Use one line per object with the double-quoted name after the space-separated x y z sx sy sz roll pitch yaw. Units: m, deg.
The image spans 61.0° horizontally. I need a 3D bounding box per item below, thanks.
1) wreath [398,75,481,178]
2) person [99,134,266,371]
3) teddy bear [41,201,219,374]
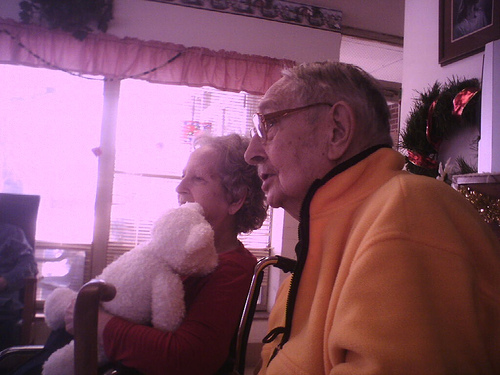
0.967 -0.322 2.217 0.332 0.711 0.438 -2 9 -14 "wreath"
-0.213 0.258 1.884 0.663 0.987 0.695 13 -9 -15 "person"
-0.402 0.332 1.421 0.590 0.565 0.316 2 -2 -6 "teddy bear"
